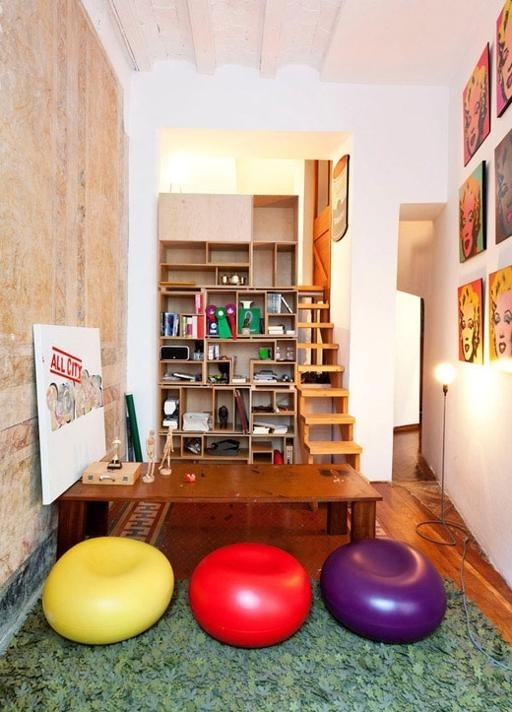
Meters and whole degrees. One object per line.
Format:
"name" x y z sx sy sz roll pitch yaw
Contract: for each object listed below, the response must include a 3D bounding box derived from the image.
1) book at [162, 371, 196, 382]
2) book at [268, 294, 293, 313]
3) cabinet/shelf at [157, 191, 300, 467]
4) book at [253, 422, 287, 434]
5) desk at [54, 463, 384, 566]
"book" -0.681 0.189 4.340 0.311 0.058 0.212 1 5 5
"book" 0.192 -0.458 4.411 0.160 0.233 0.228 0 1 4
"cabinet/shelf" -0.249 -0.237 4.461 1.245 2.384 0.622 0 4 -9
"book" 0.114 0.651 4.386 0.301 0.080 0.153 1 5 -2
"desk" -0.195 0.841 2.823 1.649 0.323 0.649 1 5 -3
